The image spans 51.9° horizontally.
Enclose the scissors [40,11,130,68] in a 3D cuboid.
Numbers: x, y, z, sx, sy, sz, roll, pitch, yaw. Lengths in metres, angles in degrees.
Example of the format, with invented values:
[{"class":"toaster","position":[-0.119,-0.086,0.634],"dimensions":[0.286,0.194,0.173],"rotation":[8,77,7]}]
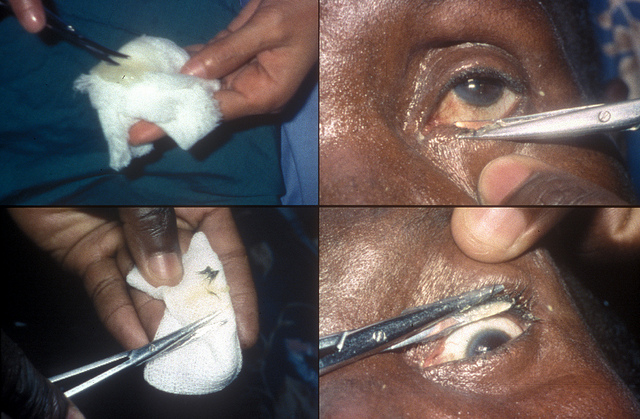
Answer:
[{"class":"scissors","position":[-0.790,-0.584,2.241],"dimensions":[0.228,0.060,0.076],"rotation":[29,57,-10]}]
